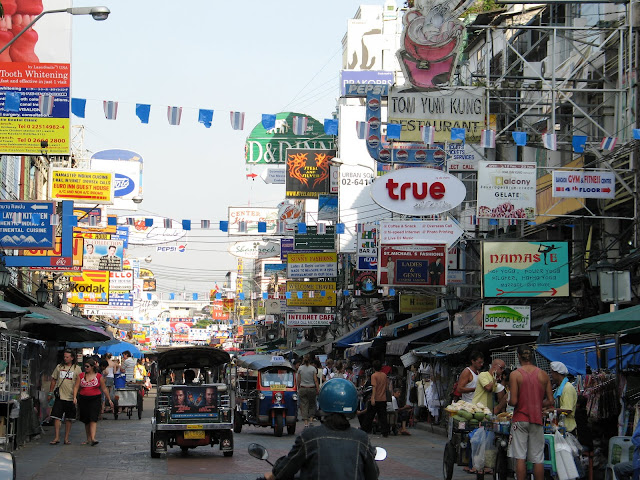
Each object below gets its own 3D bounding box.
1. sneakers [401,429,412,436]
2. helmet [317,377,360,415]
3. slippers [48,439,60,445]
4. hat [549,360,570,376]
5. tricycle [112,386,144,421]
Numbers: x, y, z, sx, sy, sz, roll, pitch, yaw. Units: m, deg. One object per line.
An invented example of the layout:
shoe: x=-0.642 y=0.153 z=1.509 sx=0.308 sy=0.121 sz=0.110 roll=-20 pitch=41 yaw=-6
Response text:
sneakers: x=2.436 y=5.534 z=34.020 sx=0.269 sy=0.111 sz=0.143 roll=0 pitch=0 yaw=12
helmet: x=0.280 y=2.374 z=18.337 sx=0.478 sy=0.488 sz=0.581 roll=3 pitch=12 yaw=-1
slippers: x=-6.524 y=5.022 z=29.458 sx=0.220 sy=0.089 sz=0.104 roll=5 pitch=-7 yaw=-18
hat: x=4.965 y=2.682 z=24.860 sx=0.316 sy=0.263 sz=0.335 roll=-1 pitch=-6 yaw=7
tricycle: x=-6.074 y=5.125 z=37.882 sx=0.746 sy=0.744 sz=1.285 roll=0 pitch=-10 yaw=-6
